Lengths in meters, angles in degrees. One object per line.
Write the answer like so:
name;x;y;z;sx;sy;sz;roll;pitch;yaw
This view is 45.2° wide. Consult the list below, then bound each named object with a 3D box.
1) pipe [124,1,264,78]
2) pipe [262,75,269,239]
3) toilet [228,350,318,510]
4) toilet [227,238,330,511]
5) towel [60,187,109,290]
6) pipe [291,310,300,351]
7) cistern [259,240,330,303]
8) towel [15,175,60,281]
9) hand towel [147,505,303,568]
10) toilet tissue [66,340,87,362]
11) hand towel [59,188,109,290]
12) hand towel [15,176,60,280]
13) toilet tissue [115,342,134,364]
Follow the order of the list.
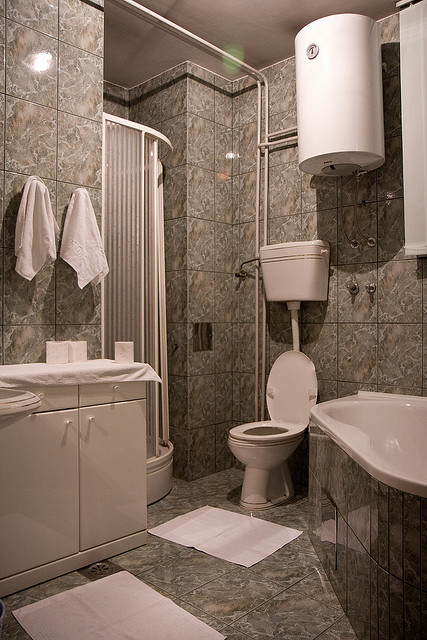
pipe;-0.075;-1.569;2.879;0.134;0.162;1.094;3;5;44
pipe;0.333;-1.016;3.206;0.036;0.997;0.075;0;3;5
toilet;0.291;0.579;2.786;0.429;0.892;0.415;-1;4;-37
toilet;0.366;0.259;2.801;0.467;1.433;0.754;1;3;26
towel;-0.571;-0.381;2.274;0.179;0.510;0.074;4;-24;-29
pipe;0.474;0.056;2.954;0.044;0.230;0.119;0;3;12
cistern;0.469;-0.241;2.919;0.449;0.411;0.264;-2;-1;37
towel;-0.710;-0.372;2.081;0.112;0.549;0.243;-1;-1;31
hand towel;0.050;0.936;2.274;0.602;0.070;0.457;2;5;38
toilet tissue;-0.567;0.134;2.137;0.064;0.102;0.087;-4;-4;39
hand towel;-0.573;-0.334;2.261;0.125;0.624;0.254;-1;-1;45
hand towel;-0.748;-0.347;2.107;0.111;0.557;0.251;0;0;34
toilet tissue;-0.380;0.142;2.188;0.069;0.088;0.037;1;2;-13
